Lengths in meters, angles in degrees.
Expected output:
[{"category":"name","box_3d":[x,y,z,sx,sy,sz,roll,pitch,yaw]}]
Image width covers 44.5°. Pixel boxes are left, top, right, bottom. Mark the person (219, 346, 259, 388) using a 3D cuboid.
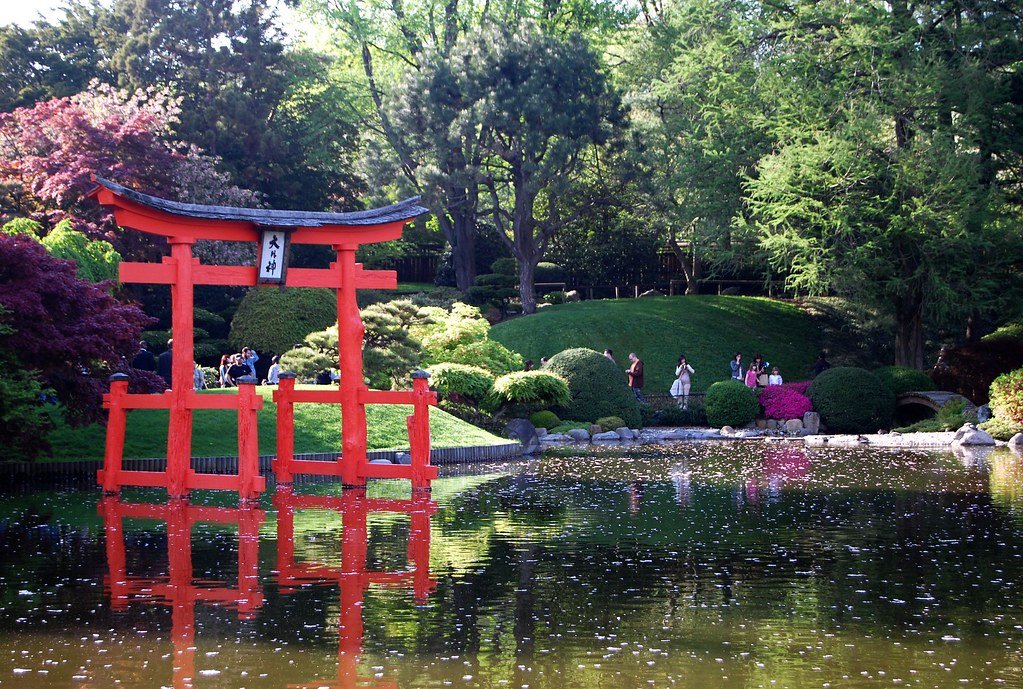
[{"category":"person","box_3d":[-8.748,0.764,40.002,1.362,1.868,1.076,0,-1,20]}]
